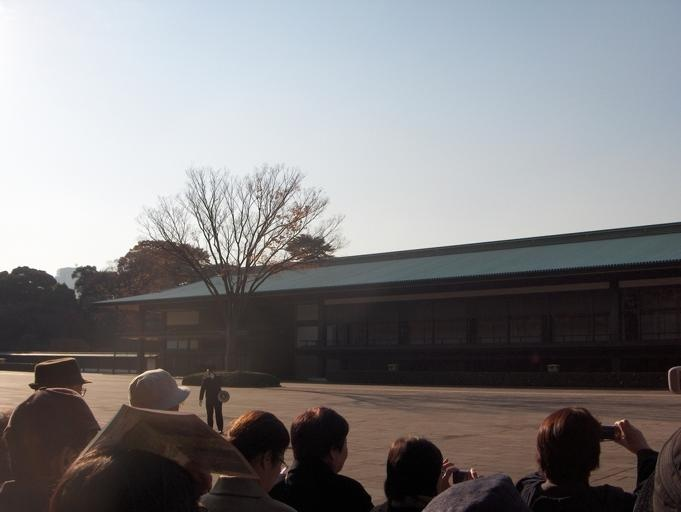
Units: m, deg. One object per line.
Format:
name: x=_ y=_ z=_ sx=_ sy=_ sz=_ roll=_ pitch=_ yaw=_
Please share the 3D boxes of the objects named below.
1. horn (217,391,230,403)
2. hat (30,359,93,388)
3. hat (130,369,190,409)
horn: x=-2.611 y=3.120 z=13.908 sx=0.228 sy=0.207 sz=0.677 roll=2 pitch=-11 yaw=-12
hat: x=-2.060 y=0.824 z=4.626 sx=0.327 sy=0.126 sz=0.257 roll=1 pitch=-6 yaw=-35
hat: x=-1.187 y=0.877 z=4.084 sx=0.365 sy=0.274 sz=0.463 roll=4 pitch=-11 yaw=-17
